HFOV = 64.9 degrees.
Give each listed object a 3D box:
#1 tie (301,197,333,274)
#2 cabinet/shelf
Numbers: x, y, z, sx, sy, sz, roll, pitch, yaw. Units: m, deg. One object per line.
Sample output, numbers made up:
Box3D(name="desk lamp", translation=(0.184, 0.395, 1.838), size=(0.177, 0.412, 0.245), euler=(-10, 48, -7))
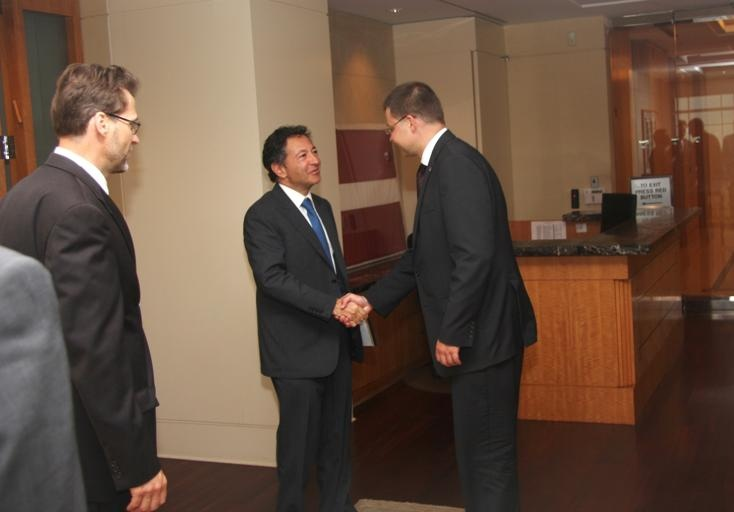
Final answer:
Box3D(name="tie", translation=(-0.267, -0.174, 3.099), size=(0.084, 0.071, 0.628), euler=(12, 42, -30))
Box3D(name="cabinet/shelf", translation=(0.185, 0.790, 5.999), size=(0.487, 1.286, 1.455), euler=(3, -11, -10))
